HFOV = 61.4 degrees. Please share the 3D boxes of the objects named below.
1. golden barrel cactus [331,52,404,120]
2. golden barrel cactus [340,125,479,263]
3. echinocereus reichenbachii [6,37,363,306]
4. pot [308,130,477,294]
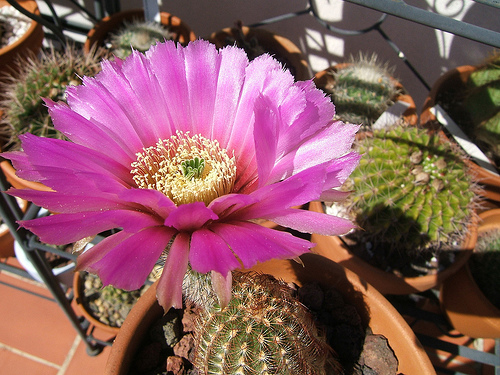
[{"bbox_3d":[0.429,-0.371,1.681,0.266,0.279,0.248,17,47,17],"label":"golden barrel cactus"},{"bbox_3d":[0.502,0.012,1.280,0.429,0.458,0.167,-5,-5,8],"label":"golden barrel cactus"},{"bbox_3d":[-0.114,0.059,1.031,0.596,0.622,0.269,-21,-26,-10],"label":"echinocereus reichenbachii"},{"bbox_3d":[0.420,0.089,1.509,0.522,0.564,0.587,-3,-22,7],"label":"pot"}]
